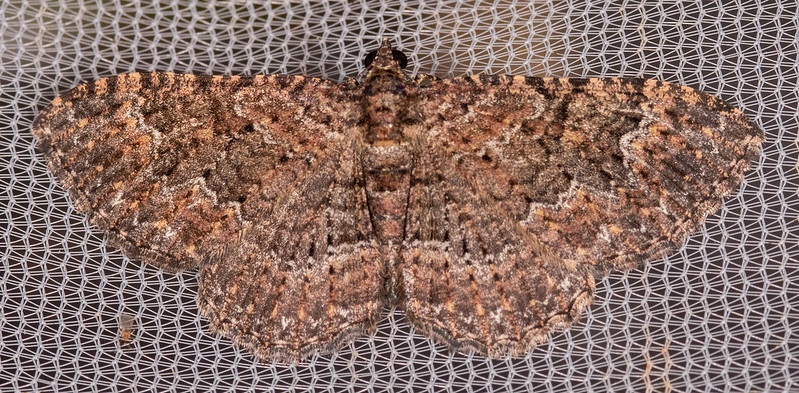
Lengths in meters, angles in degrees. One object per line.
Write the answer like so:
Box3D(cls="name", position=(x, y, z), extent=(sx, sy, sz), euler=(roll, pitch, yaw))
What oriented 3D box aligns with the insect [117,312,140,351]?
Box3D(cls="insect", position=(-2.299, 1.128, 7.437), extent=(0.199, 0.068, 0.254), euler=(-1, 97, -6))
